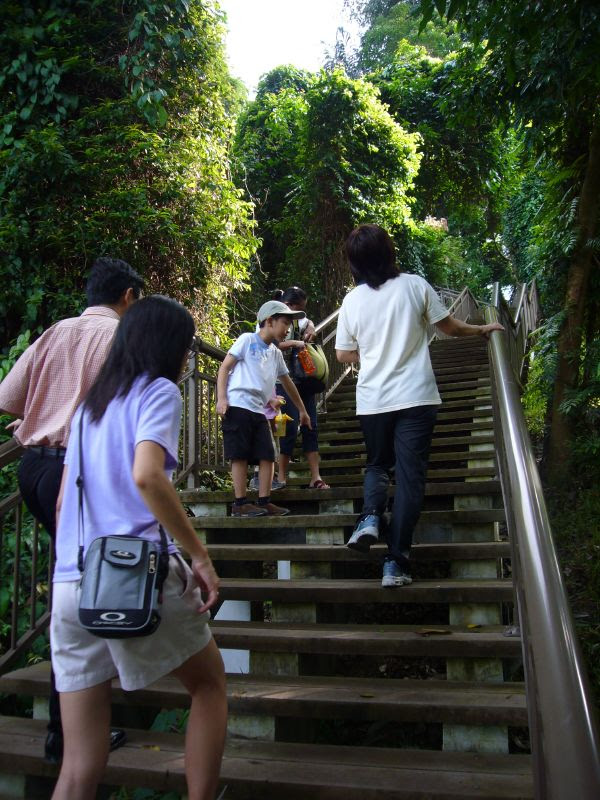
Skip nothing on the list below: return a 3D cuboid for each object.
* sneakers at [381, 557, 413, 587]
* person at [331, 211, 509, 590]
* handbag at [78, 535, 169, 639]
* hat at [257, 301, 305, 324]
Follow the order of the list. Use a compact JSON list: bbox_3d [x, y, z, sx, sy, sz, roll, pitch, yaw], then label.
[{"bbox_3d":[0.424,0.763,2.777,0.129,0.129,0.119,-3,14,7],"label":"sneakers"},{"bbox_3d":[0.586,-0.023,3.174,0.707,1.811,0.810,-7,-12,24],"label":"person"},{"bbox_3d":[-0.372,0.369,1.349,0.182,0.240,0.125,2,-30,-3],"label":"handbag"},{"bbox_3d":[-0.140,-0.608,4.273,0.245,0.123,0.155,-16,12,2],"label":"hat"}]
